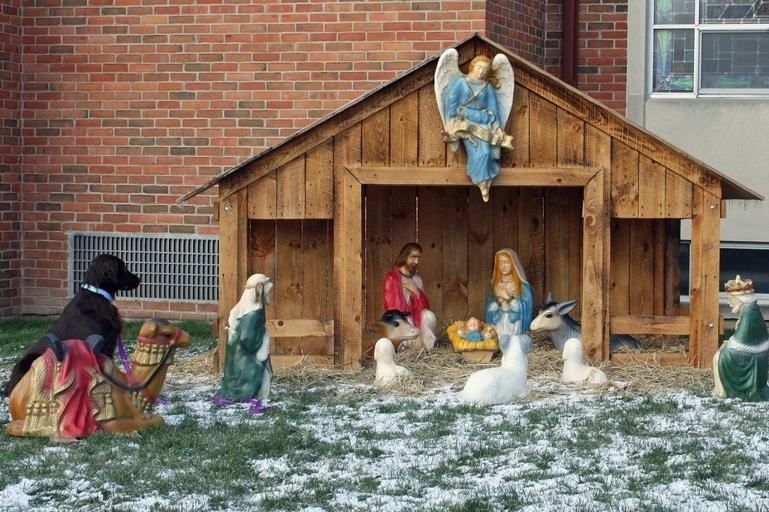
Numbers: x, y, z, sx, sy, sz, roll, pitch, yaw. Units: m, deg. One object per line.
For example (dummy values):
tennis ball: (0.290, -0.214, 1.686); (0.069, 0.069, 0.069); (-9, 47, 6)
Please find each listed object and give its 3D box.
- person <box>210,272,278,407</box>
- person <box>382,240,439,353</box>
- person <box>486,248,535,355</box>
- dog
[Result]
person: (-1.473, 0.872, 17.987); (0.576, 1.333, 0.298); (-1, 2, -7)
person: (0.296, 0.457, 19.613); (0.592, 1.217, 0.364); (-1, 2, -1)
person: (1.427, 0.402, 19.493); (0.529, 0.970, 0.308); (-1, 2, 5)
dog: (-3.116, 0.622, 17.450); (1.238, 1.238, 0.543); (-1, 2, -14)
